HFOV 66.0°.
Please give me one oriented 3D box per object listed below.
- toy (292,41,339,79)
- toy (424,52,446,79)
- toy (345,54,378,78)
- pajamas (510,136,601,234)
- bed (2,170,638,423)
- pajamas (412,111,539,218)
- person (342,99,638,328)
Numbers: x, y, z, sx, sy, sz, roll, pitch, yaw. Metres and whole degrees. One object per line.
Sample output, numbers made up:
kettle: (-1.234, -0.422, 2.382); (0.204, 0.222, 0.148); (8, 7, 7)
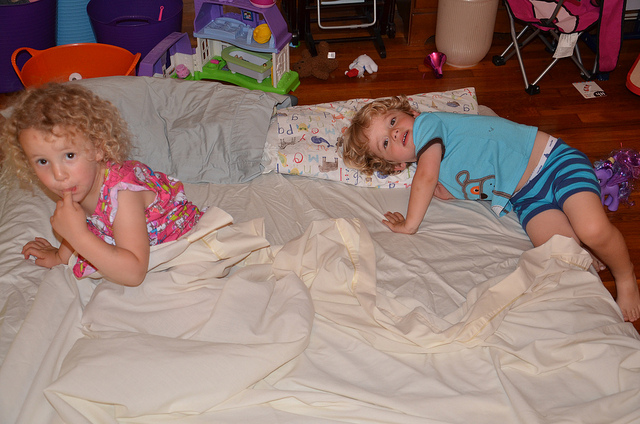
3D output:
toy: (-0.032, -1.074, 3.507); (0.350, 0.164, 0.254); (-19, 45, -23)
toy: (0.849, -1.037, 3.527); (0.130, 0.162, 0.133); (-4, 9, 13)
toy: (0.297, -1.016, 3.457); (0.189, 0.080, 0.146); (-41, 83, -10)
pajamas: (1.080, -0.150, 2.416); (0.494, 0.387, 0.431); (14, 13, -3)
bed: (0.067, 0.353, 2.130); (1.920, 0.161, 1.143); (3, 41, -6)
pajamas: (0.766, -0.272, 2.371); (0.591, 0.457, 0.236); (17, 9, 11)
person: (0.781, -0.036, 2.625); (1.345, 0.496, 0.853); (8, 65, 10)
